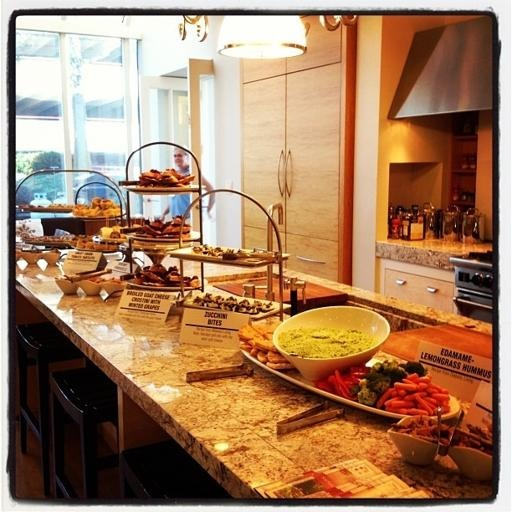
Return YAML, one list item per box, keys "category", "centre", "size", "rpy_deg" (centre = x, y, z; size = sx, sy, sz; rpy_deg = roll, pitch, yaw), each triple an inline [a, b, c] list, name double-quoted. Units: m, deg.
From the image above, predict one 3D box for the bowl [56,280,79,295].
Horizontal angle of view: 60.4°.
- category: "bowl"
  centre: [-0.897, 0.146, 2.086]
  size: [0.094, 0.055, 0.078]
  rpy_deg: [3, -8, -9]

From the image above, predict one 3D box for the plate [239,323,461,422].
- category: "plate"
  centre: [0.187, 0.287, 1.089]
  size: [0.411, 0.105, 0.596]
  rpy_deg: [-4, 8, -7]

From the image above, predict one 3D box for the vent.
- category: "vent"
  centre: [1.332, -1.372, 3.164]
  size: [0.291, 0.702, 0.744]
  rpy_deg: [-8, 10, -28]

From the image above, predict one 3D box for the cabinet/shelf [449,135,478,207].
- category: "cabinet/shelf"
  centre: [1.795, -0.739, 3.811]
  size: [0.207, 0.622, 0.271]
  rpy_deg: [1, 10, 24]

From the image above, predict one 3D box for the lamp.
- category: "lamp"
  centre: [-0.013, -0.910, 1.785]
  size: [0.224, 0.138, 0.226]
  rpy_deg: [7, 17, 25]

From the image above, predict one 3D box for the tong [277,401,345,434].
- category: "tong"
  centre: [0.101, 0.315, 0.891]
  size: [0.123, 0.018, 0.050]
  rpy_deg: [-7, 8, -38]

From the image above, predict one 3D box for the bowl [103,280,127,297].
- category: "bowl"
  centre: [-0.654, 0.145, 2.032]
  size: [0.090, 0.043, 0.088]
  rpy_deg: [2, 9, 0]

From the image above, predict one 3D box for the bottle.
- category: "bottle"
  centre: [1.446, -0.272, 3.558]
  size: [0.722, 0.294, 0.399]
  rpy_deg: [0, 9, 20]

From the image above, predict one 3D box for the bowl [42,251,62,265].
- category: "bowl"
  centre: [-1.327, 0.007, 2.863]
  size: [0.103, 0.075, 0.098]
  rpy_deg: [-4, -20, -2]

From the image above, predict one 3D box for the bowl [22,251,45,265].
- category: "bowl"
  centre: [-1.492, 0.005, 2.916]
  size: [0.120, 0.049, 0.109]
  rpy_deg: [2, -4, 0]

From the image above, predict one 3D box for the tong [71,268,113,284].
- category: "tong"
  centre: [-0.787, 0.081, 2.217]
  size: [0.059, 0.053, 0.305]
  rpy_deg: [-3, 6, 33]

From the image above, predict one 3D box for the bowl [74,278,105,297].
- category: "bowl"
  centre: [-0.787, 0.157, 2.098]
  size: [0.105, 0.054, 0.101]
  rpy_deg: [0, -10, 0]
